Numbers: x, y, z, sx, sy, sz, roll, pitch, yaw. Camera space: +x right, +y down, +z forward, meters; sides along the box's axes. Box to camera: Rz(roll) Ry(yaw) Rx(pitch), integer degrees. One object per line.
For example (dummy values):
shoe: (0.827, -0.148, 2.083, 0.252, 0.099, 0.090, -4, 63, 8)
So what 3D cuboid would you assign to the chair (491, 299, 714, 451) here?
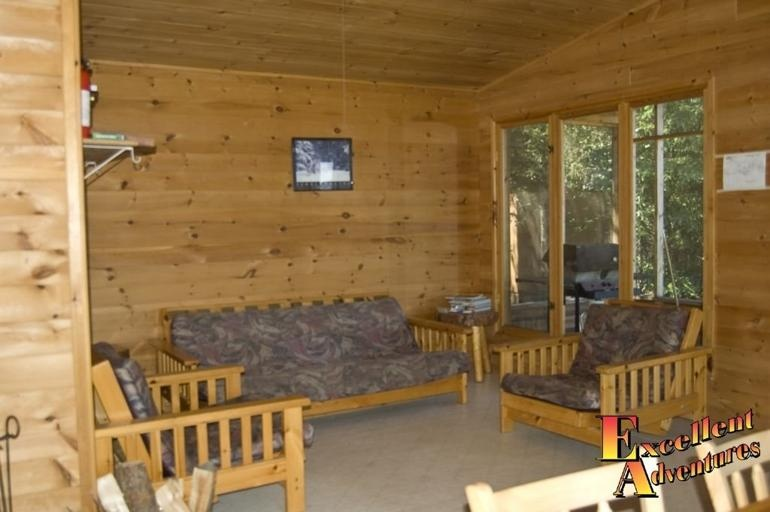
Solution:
chair: (1.595, 0.832, 4.568, 1.416, 0.857, 1.182, -1, 0, -30)

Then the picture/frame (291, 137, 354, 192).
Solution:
picture/frame: (-0.651, -0.915, 5.921, 0.695, 0.468, 0.050, -3, -1, -26)

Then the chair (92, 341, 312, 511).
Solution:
chair: (-1.131, 0.972, 3.445, 1.184, 0.729, 1.353, -2, 3, -32)
